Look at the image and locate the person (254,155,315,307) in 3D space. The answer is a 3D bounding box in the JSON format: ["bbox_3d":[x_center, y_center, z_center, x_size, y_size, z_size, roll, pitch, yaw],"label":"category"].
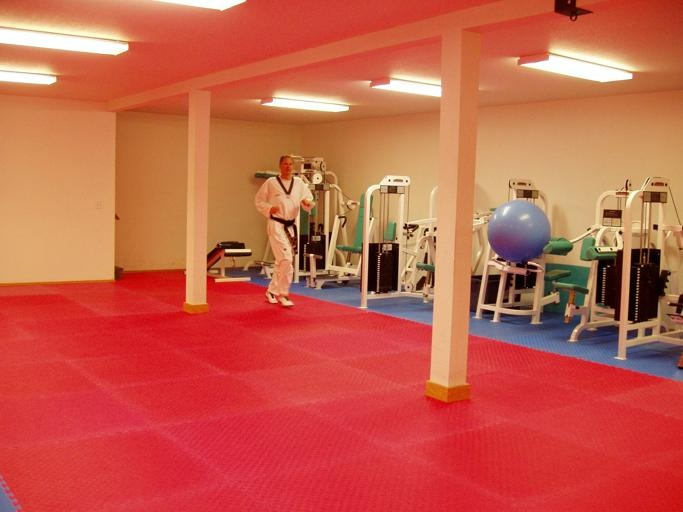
[{"bbox_3d":[-0.909,-0.363,7.855,0.863,2.299,0.437,2,6,-9],"label":"person"}]

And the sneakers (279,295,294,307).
[{"bbox_3d":[-0.888,0.726,7.975,0.107,0.125,0.310,2,-3,-34],"label":"sneakers"}]
